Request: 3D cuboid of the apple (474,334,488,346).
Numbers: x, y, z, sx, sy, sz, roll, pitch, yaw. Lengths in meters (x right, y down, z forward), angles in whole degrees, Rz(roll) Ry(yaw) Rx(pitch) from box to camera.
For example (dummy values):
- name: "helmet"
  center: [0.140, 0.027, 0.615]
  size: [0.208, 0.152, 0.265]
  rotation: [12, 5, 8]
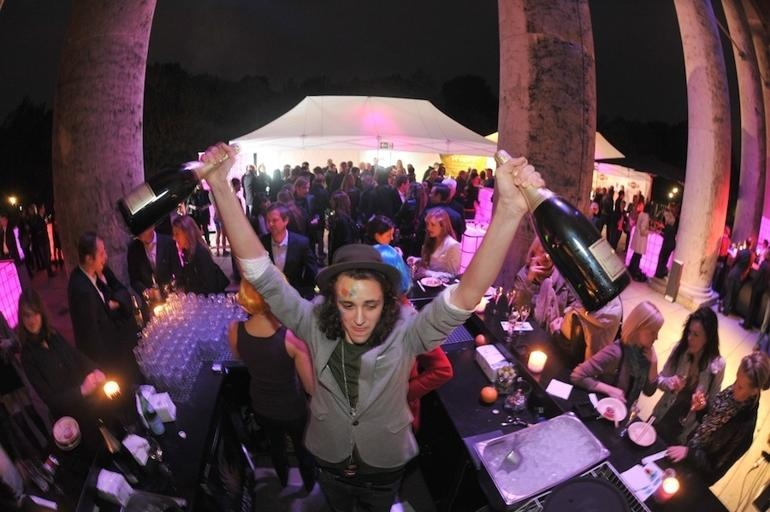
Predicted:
- name: "apple"
  center: [1.233, 1.085, 6.177]
  size: [0.125, 0.157, 0.130]
  rotation: [17, -1, 12]

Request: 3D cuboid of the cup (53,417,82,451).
- name: "cup"
  center: [-3.215, 1.833, 4.920]
  size: [0.172, 0.175, 0.179]
  rotation: [15, 39, -12]

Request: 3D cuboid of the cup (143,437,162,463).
- name: "cup"
  center: [-2.446, 2.054, 5.124]
  size: [0.116, 0.143, 0.311]
  rotation: [-2, 8, -37]

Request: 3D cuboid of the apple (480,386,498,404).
- name: "apple"
  center: [1.205, 1.608, 5.600]
  size: [0.167, 0.171, 0.178]
  rotation: [2, 1, 20]

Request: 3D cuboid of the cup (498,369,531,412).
- name: "cup"
  center: [1.470, 1.631, 5.723]
  size: [0.262, 0.449, 0.439]
  rotation: [2, -2, -1]

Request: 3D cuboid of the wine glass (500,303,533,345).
- name: "wine glass"
  center: [1.739, 0.892, 6.331]
  size: [0.384, 0.140, 0.391]
  rotation: [-5, 27, 31]
